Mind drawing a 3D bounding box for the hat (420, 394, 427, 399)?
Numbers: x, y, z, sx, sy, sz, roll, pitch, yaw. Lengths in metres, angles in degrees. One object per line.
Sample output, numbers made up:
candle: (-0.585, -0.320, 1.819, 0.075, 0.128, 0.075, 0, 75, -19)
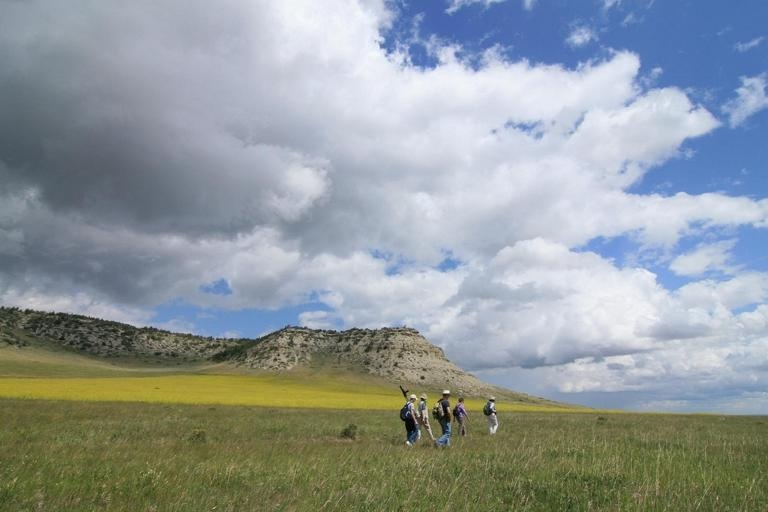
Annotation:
hat: (2.645, 9.564, 31.475, 0.411, 0.234, 0.533, 9, -7, -6)

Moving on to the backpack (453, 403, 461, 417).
backpack: (5.932, 12.482, 37.534, 0.326, 0.930, 0.754, 13, -25, -23)
